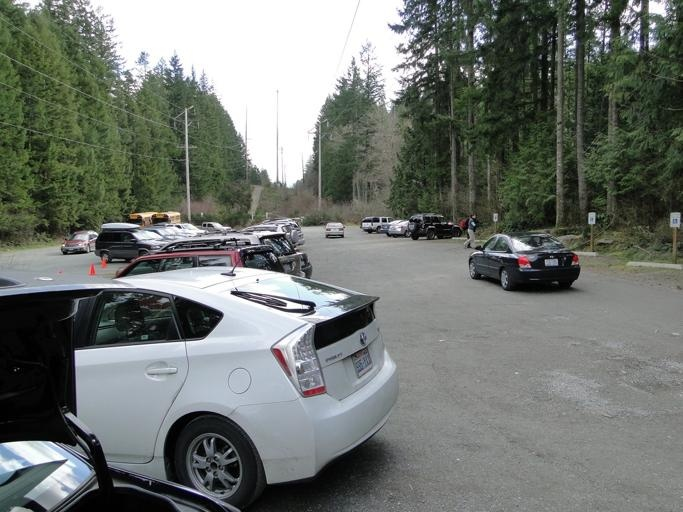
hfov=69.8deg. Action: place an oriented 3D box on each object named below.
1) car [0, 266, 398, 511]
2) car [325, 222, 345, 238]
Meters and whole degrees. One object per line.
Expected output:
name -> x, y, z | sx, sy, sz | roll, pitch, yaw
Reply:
car -> -1.001, 1.031, 4.394 | 2.804, 1.113, 1.560 | 3, 5, 18
car -> -0.547, -2.509, 48.419 | 1.773, 1.439, 1.945 | 10, 9, 4
